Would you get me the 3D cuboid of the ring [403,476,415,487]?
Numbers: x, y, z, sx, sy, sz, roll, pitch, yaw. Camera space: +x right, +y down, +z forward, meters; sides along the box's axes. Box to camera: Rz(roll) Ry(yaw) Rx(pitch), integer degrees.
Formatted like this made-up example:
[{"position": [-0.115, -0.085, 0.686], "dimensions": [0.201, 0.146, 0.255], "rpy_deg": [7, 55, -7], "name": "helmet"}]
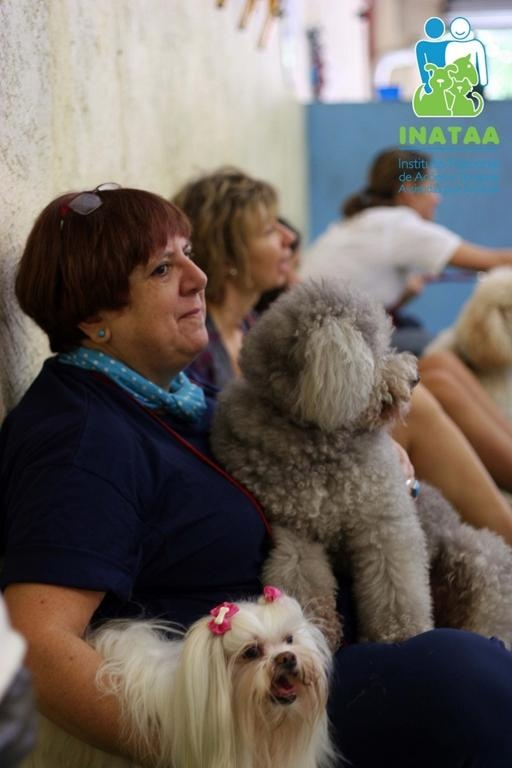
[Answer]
[{"position": [0.276, 0.171, 1.436], "dimensions": [0.021, 0.007, 0.026], "rpy_deg": [11, 40, 0], "name": "ring"}]
